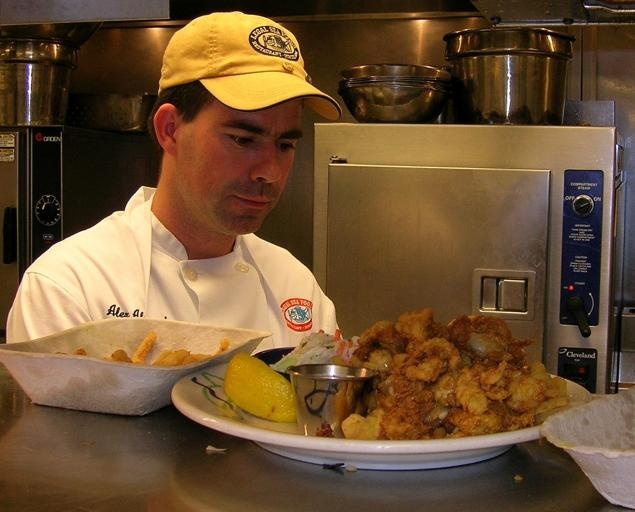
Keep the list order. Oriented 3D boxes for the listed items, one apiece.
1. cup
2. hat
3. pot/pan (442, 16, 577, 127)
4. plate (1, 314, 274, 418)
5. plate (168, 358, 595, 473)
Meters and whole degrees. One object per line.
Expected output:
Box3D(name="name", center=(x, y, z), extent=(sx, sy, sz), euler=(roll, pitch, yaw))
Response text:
Box3D(name="cup", center=(0.011, 0.185, 0.794), extent=(0.097, 0.063, 0.093), euler=(7, -6, 1))
Box3D(name="hat", center=(-0.153, -0.417, 1.380), extent=(0.345, 0.159, 0.234), euler=(13, 14, 28))
Box3D(name="pot/pan", center=(0.592, -0.525, 1.896), extent=(0.346, 0.225, 0.338), euler=(2, 7, 20))
Box3D(name="plate", center=(-0.310, 0.162, 0.908), extent=(0.225, 0.056, 0.221), euler=(0, 0, 21))
Box3D(name="plate", center=(0.069, 0.210, 0.828), extent=(0.540, 0.062, 0.320), euler=(2, 9, 21))
